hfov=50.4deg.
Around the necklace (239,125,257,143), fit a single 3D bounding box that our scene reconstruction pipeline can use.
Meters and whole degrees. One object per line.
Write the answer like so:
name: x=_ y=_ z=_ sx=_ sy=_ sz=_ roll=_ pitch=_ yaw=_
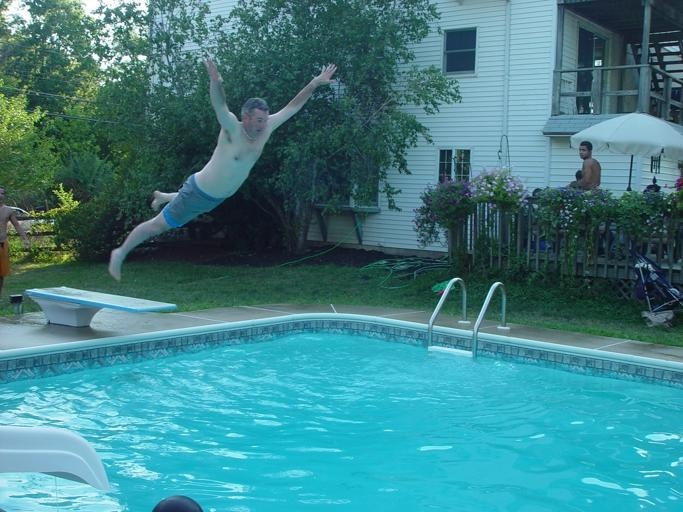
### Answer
necklace: x=-1.154 y=-1.517 z=8.956 sx=0.083 sy=0.203 sz=0.175 roll=-39 pitch=-22 yaw=30
